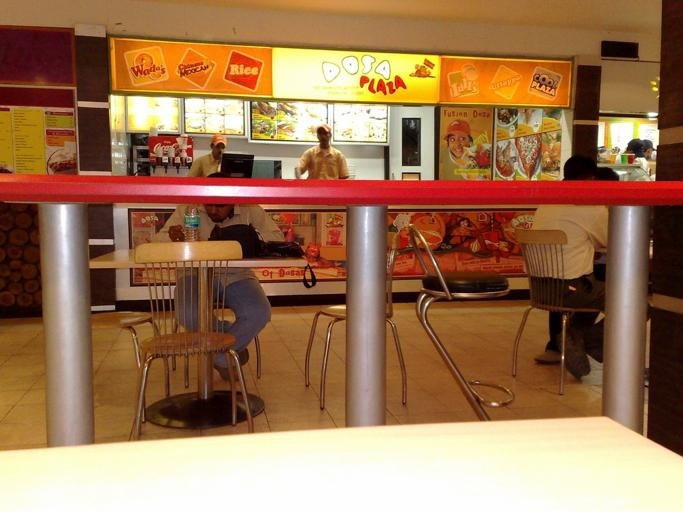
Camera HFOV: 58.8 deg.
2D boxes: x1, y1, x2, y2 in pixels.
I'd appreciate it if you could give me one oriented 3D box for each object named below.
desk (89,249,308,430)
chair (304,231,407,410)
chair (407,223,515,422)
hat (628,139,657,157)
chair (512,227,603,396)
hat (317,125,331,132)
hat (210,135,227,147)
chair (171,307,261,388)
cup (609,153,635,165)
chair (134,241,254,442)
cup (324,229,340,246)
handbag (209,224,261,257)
[{"bbox_3d":[-0.649,0.171,2.689,0.621,0.397,0.578,0,10,28],"label":"desk"},{"bbox_3d":[0.078,0.350,3.470,0.557,0.866,0.515,2,2,-18],"label":"chair"},{"bbox_3d":[0.657,0.394,3.184,0.611,1.085,0.604,1,-3,8],"label":"chair"},{"bbox_3d":[3.491,-1.267,7.035,0.280,0.237,0.205,10,8,19],"label":"hat"},{"bbox_3d":[1.303,0.292,3.696,0.499,0.963,0.794,4,9,16],"label":"chair"},{"bbox_3d":[-0.194,-1.461,6.860,0.151,0.118,0.106,-3,12,-1],"label":"hat"},{"bbox_3d":[-1.294,-1.229,6.395,0.127,0.088,0.169,0,20,-25],"label":"hat"},{"bbox_3d":[-0.684,0.583,3.916,0.391,0.568,0.342,3,7,12],"label":"chair"},{"bbox_3d":[3.256,-1.135,7.008,0.233,0.088,0.162,1,7,13],"label":"cup"},{"bbox_3d":[-0.673,0.373,2.946,0.656,0.828,0.613,-3,-4,0],"label":"chair"},{"bbox_3d":[-0.075,-0.198,6.179,0.170,0.170,0.172,1,10,0],"label":"cup"},{"bbox_3d":[-0.536,-0.096,3.111,0.224,0.137,0.196,0,-3,-7],"label":"handbag"}]
